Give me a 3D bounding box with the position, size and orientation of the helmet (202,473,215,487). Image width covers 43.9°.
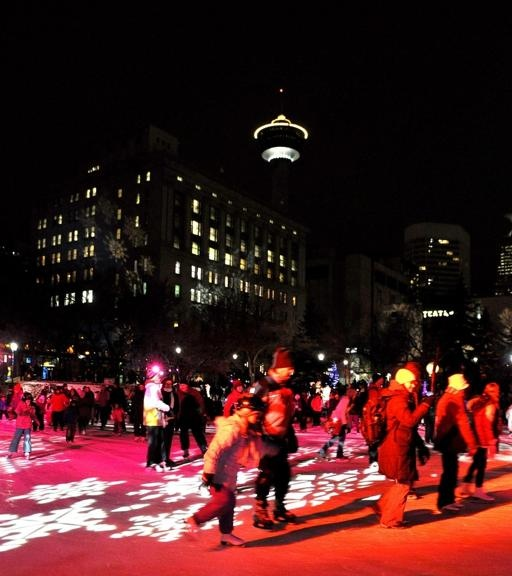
[{"bbox_3d":[-0.463,1.839,6.160,0.132,0.138,0.122,5,-2,-2],"label":"helmet"}]

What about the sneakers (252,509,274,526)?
[{"bbox_3d":[0.071,2.610,7.193,0.139,0.240,0.231,10,-21,-29],"label":"sneakers"}]

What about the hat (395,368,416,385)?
[{"bbox_3d":[1.674,0.997,7.127,0.177,0.134,0.177,-4,-13,-24],"label":"hat"}]

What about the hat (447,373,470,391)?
[{"bbox_3d":[2.624,1.215,8.243,0.249,0.213,0.418,-1,-5,17],"label":"hat"}]

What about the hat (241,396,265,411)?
[{"bbox_3d":[-0.039,1.197,6.630,0.207,0.160,0.157,19,-11,-35],"label":"hat"}]

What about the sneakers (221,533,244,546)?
[{"bbox_3d":[-0.249,2.534,6.384,0.198,0.095,0.108,0,2,5],"label":"sneakers"}]

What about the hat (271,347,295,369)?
[{"bbox_3d":[0.297,0.832,7.506,0.235,0.233,0.194,-13,-15,36],"label":"hat"}]
